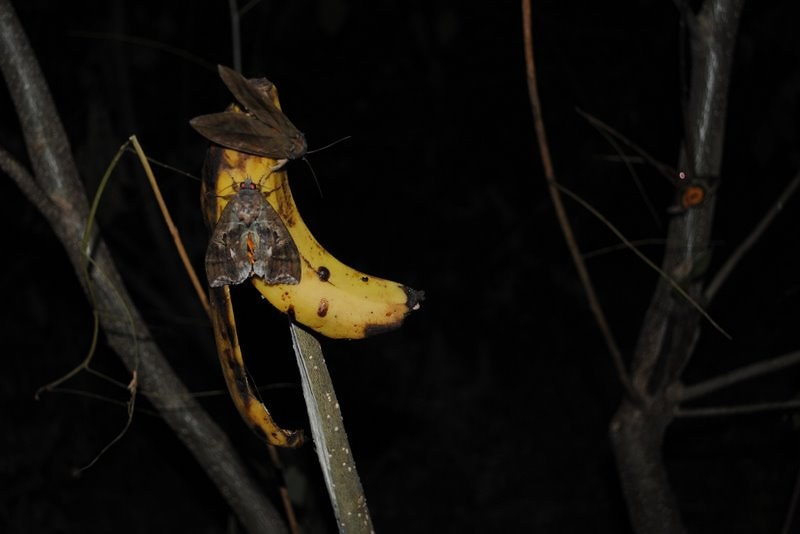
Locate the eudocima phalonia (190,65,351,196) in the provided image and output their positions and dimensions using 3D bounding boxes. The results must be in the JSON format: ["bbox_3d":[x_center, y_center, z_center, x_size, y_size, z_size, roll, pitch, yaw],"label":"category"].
[{"bbox_3d":[-0.250,-0.243,1.528,0.210,0.154,0.074,27,-18,-8],"label":"eudocima phalonia"}]

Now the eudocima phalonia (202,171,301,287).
[{"bbox_3d":[-0.279,-0.028,1.506,0.045,0.200,0.174,15,34,15],"label":"eudocima phalonia"}]
